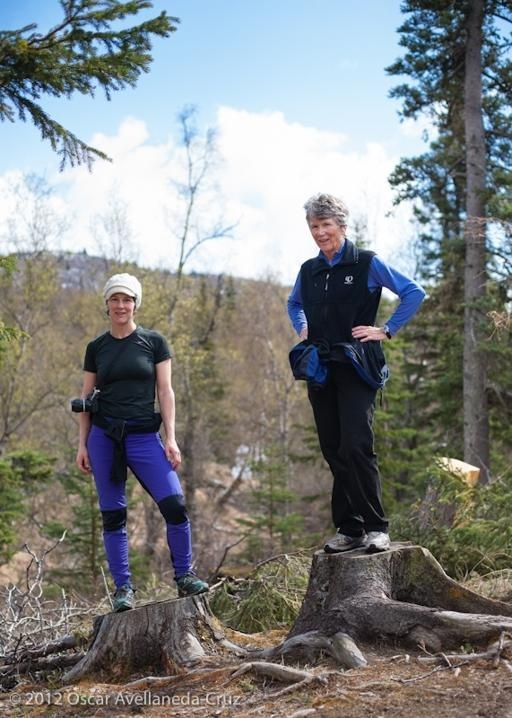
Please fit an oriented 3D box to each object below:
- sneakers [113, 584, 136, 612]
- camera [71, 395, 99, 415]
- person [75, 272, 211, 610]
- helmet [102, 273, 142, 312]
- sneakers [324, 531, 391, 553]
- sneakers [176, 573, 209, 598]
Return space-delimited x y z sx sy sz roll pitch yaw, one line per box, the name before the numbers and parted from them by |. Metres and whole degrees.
sneakers | -1.182 2.123 11.441 0.203 0.142 0.278 -8 5 -8
camera | -1.538 0.408 11.549 0.240 0.196 0.153 2 4 -5
person | -1.111 0.724 11.471 0.916 2.949 0.622 -10 6 -4
helmet | -1.183 -0.627 11.441 0.288 0.194 0.376 4 0 -4
sneakers | 0.903 1.634 11.368 0.420 0.128 0.260 2 -10 -5
sneakers | -0.574 2.007 11.467 0.275 0.217 0.303 -8 5 -5
